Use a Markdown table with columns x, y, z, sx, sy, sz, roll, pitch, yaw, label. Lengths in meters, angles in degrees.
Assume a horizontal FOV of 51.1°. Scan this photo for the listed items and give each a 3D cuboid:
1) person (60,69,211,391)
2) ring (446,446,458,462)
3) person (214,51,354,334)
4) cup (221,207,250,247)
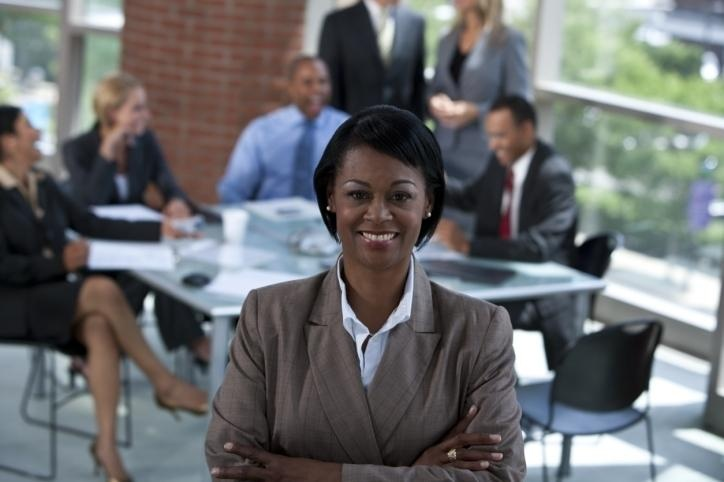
| x | y | z | sx | sy | sz | roll | pitch | yaw | label |
| --- | --- | --- | --- | --- | --- | --- | --- | --- | --- |
| -0.749 | 0.031 | 2.526 | 0.444 | 1.198 | 0.952 | 0 | 16 | -10 | person |
| 0.220 | 0.523 | 1.839 | 0.025 | 0.026 | 0.009 | 15 | -3 | 27 | ring |
| -0.344 | -0.377 | 3.948 | 0.764 | 1.051 | 0.523 | -1 | 19 | -26 | person |
| -0.516 | -0.053 | 3.072 | 0.126 | 0.140 | 0.132 | 2 | 11 | 0 | cup |
